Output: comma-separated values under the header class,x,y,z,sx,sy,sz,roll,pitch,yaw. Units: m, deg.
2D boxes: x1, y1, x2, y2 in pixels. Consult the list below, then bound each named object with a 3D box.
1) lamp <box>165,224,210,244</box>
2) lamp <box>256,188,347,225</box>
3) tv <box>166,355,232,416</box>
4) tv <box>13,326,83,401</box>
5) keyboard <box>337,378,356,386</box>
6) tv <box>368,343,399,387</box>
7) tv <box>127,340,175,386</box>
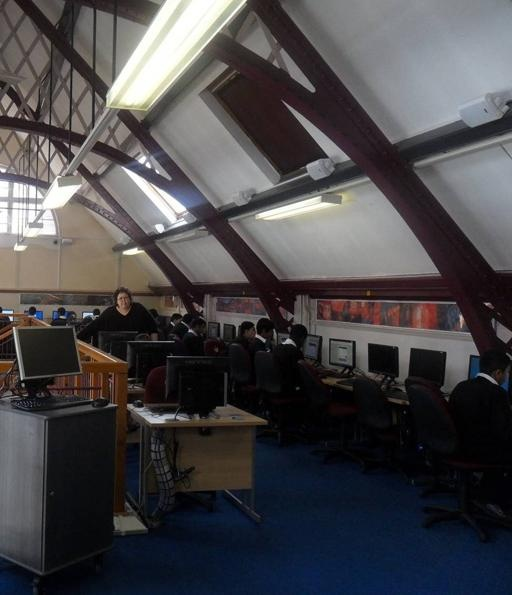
class,x,y,z,sx,sy,sz,roll,pitch,yaw
lamp,-1.113,-1.100,8.500,0.395,0.148,1.615,4,-4,-27
lamp,0.481,-1.007,5.300,0.367,0.144,1.158,4,-4,-32
tv,-0.445,0.670,3.594,0.475,0.462,0.241,1,-3,-6
tv,-1.102,0.285,2.509,0.151,0.260,0.357,0,-4,32
keyboard,1.036,0.980,5.468,0.180,0.046,0.175,-2,3,-36
tv,1.446,0.752,5.365,0.178,0.436,0.444,5,-6,-34
tv,-0.913,0.573,4.179,0.432,0.416,0.229,2,1,-4
